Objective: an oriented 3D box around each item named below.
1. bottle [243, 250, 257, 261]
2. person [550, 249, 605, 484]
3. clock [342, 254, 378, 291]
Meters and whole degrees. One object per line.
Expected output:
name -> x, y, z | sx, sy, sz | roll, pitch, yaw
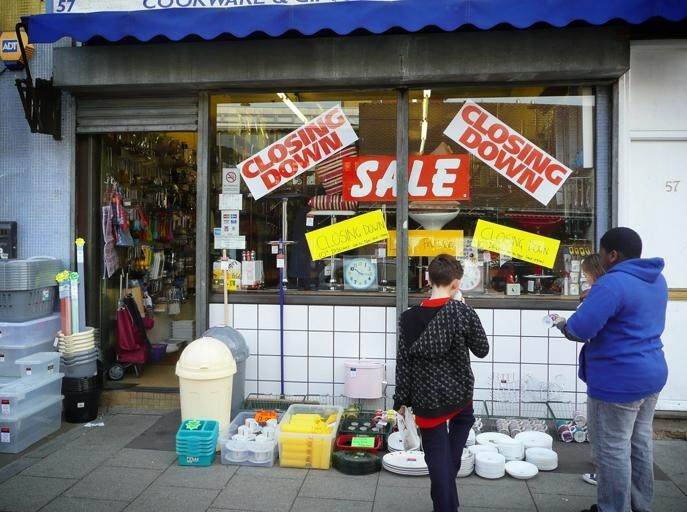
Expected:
bottle -> -1.056, -0.005, 8.108 | 0.113, 0.112, 0.118 | 1, 0, 4
person -> 2.037, 0.809, 6.759 | 0.403, 1.630, 0.583 | 3, 8, 18
clock -> 0.169, 0.188, 7.960 | 0.390, 0.390, 0.098 | 0, 1, 11
